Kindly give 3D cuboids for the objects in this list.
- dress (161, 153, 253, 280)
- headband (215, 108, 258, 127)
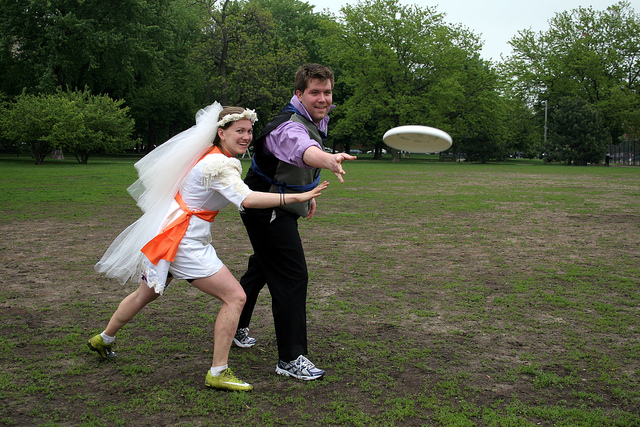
[{"bbox_3d":[-1.086,-0.013,3.948,0.691,1.405,1.219,0,-2,-1],"label":"dress"},{"bbox_3d":[-0.836,-0.967,4.049,0.294,0.116,0.232,-12,7,-9],"label":"headband"}]
